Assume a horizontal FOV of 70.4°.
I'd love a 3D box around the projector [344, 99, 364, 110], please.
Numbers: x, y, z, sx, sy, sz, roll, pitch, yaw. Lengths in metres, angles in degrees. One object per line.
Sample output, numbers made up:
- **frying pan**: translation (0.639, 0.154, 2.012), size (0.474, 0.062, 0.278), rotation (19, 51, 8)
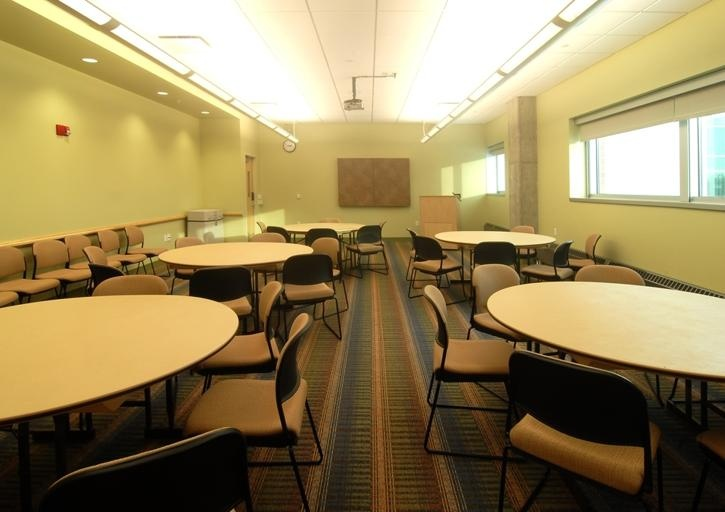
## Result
- **projector**: translation (-0.183, -2.747, 9.309), size (0.362, 0.171, 0.309), rotation (2, 5, 37)
